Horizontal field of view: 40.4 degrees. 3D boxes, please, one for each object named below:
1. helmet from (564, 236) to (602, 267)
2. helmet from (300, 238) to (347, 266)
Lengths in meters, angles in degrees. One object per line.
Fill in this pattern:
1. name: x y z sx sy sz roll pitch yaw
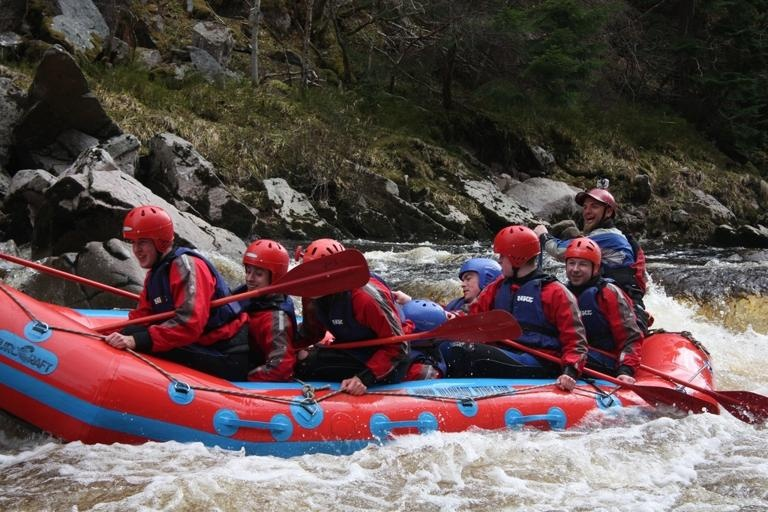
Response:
1. helmet: 3.560 -0.144 18.569 0.445 0.594 0.469 6 6 14
2. helmet: -1.095 -0.092 17.555 0.578 0.284 0.417 -9 2 8
